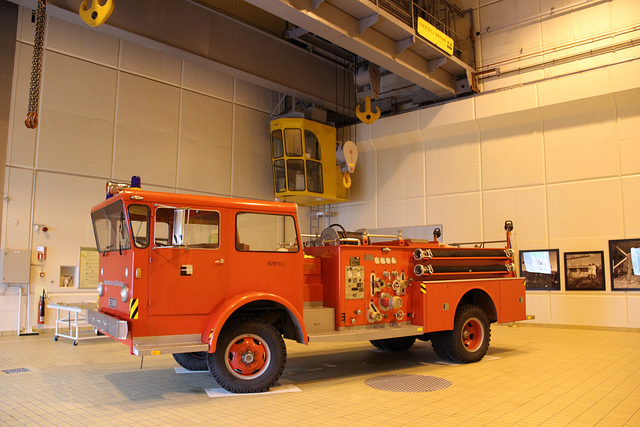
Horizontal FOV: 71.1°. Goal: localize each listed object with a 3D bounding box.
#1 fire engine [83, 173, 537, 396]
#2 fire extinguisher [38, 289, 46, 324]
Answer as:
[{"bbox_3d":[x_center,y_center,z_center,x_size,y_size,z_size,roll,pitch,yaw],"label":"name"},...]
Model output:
[{"bbox_3d":[0.255,1.350,9.658,9.420,3.867,2.856,2,-3,-29],"label":"fire engine"},{"bbox_3d":[-8.028,2.717,12.941,0.183,0.997,0.200,1,-3,-31],"label":"fire extinguisher"}]
